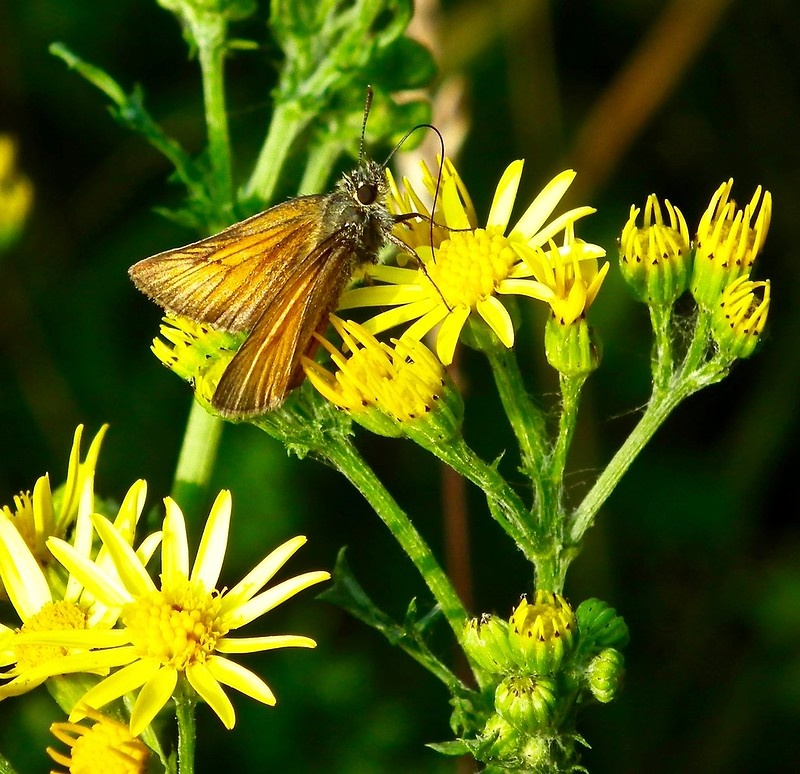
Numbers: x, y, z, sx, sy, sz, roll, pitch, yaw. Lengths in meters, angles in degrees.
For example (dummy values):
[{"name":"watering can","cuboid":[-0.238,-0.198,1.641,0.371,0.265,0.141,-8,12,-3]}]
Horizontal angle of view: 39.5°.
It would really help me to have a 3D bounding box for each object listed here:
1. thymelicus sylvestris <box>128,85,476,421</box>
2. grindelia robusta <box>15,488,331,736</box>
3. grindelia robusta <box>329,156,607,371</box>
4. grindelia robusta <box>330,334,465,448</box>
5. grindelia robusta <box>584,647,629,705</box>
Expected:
[{"name":"thymelicus sylvestris","cuboid":[-0.374,-0.436,4.277,1.342,0.686,1.100,-43,25,-28]},{"name":"grindelia robusta","cuboid":[-0.713,0.683,3.413,0.884,0.549,0.543,-19,21,-2]},{"name":"grindelia robusta","cuboid":[0.222,-0.406,3.716,0.734,0.193,0.768,23,82,50]},{"name":"grindelia robusta","cuboid":[0.017,-0.062,3.695,0.363,0.480,0.277,-4,7,-7]},{"name":"grindelia robusta","cuboid":[0.630,0.881,3.420,0.084,0.131,0.153,13,-10,26]}]
